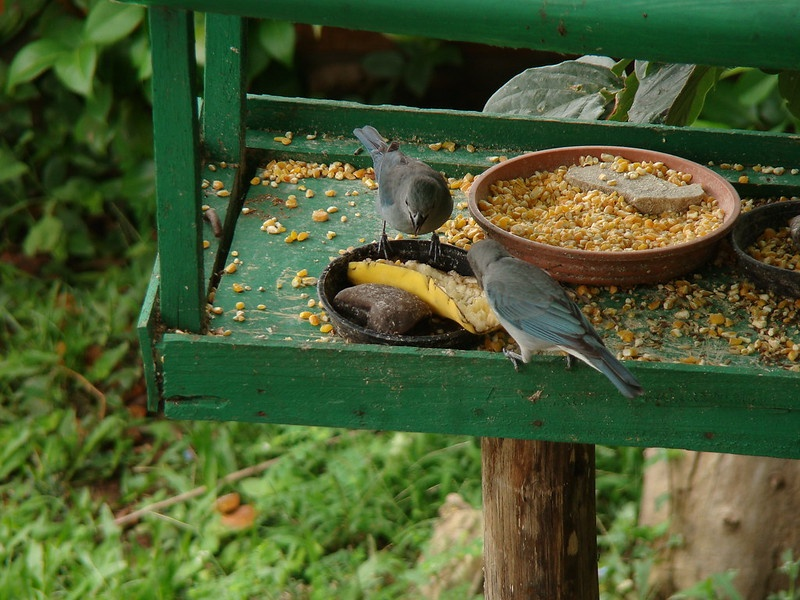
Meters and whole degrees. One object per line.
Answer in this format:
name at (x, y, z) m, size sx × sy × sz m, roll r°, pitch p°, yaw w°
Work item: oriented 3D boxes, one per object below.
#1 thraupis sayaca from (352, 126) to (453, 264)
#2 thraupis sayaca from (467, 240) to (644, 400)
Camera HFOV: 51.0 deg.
thraupis sayaca at (0.004, -0.538, 3.300) m, size 0.236 × 0.384 × 0.686 m, roll -9°, pitch 75°, yaw -9°
thraupis sayaca at (0.501, 0.049, 2.753) m, size 0.712 × 0.353 × 0.231 m, roll 21°, pitch 27°, yaw 38°
